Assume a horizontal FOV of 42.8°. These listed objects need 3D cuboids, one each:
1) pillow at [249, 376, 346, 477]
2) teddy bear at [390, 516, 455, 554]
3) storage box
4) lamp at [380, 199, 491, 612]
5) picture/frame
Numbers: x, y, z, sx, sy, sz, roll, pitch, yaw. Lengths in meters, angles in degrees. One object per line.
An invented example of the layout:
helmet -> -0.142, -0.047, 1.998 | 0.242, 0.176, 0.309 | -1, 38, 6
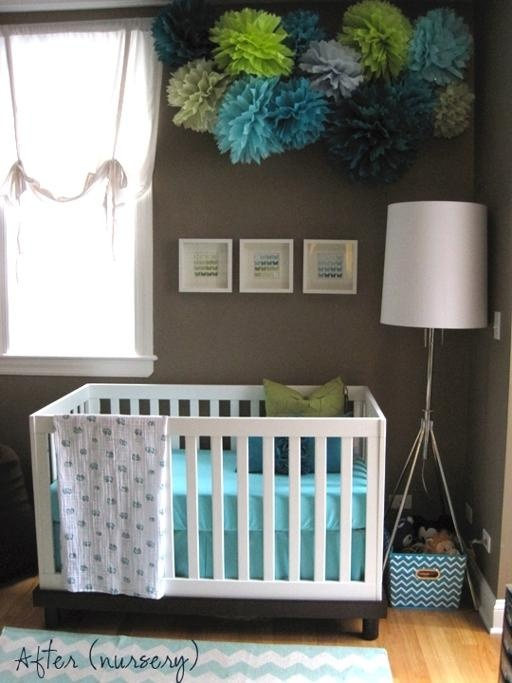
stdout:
pillow -> 0.161, 0.295, 2.520 | 0.393, 0.614, 0.284 | 0, -1, 1
teddy bear -> 0.641, 0.714, 2.488 | 0.121, 0.102, 0.175 | -1, 2, -29
storage box -> 0.608, 0.765, 2.331 | 0.293, 0.251, 0.190 | 0, -1, 5
lamp -> 0.645, 0.234, 2.428 | 0.375, 1.478, 0.516 | 3, 7, 19
picture/frame -> 0.050, -0.309, 2.704 | 0.742, 0.230, 0.059 | 0, 7, 0
